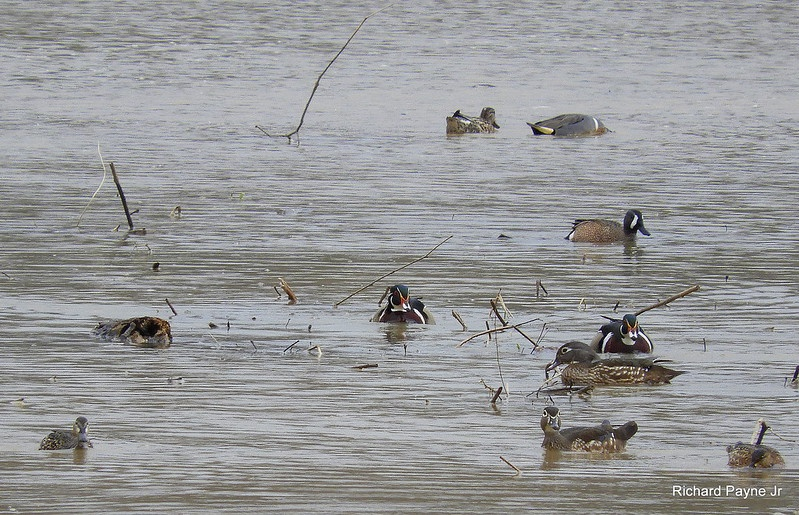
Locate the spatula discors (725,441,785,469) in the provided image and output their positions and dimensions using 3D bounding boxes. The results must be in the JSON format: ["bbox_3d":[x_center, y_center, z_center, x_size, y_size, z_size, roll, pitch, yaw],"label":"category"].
[{"bbox_3d":[4.559,2.557,18.565,0.431,0.151,0.494,2,0,26],"label":"spatula discors"}]

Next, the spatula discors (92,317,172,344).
[{"bbox_3d":[-4.154,1.147,22.393,0.952,0.225,0.576,1,0,0],"label":"spatula discors"}]

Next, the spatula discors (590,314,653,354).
[{"bbox_3d":[3.437,1.219,22.165,0.600,0.531,0.917,-3,33,-3],"label":"spatula discors"}]

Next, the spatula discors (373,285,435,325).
[{"bbox_3d":[0.033,0.795,23.724,0.798,0.440,0.895,0,-3,-8],"label":"spatula discors"}]

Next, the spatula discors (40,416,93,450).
[{"bbox_3d":[-4.313,2.304,18.853,0.753,0.356,0.429,-3,2,3],"label":"spatula discors"}]
